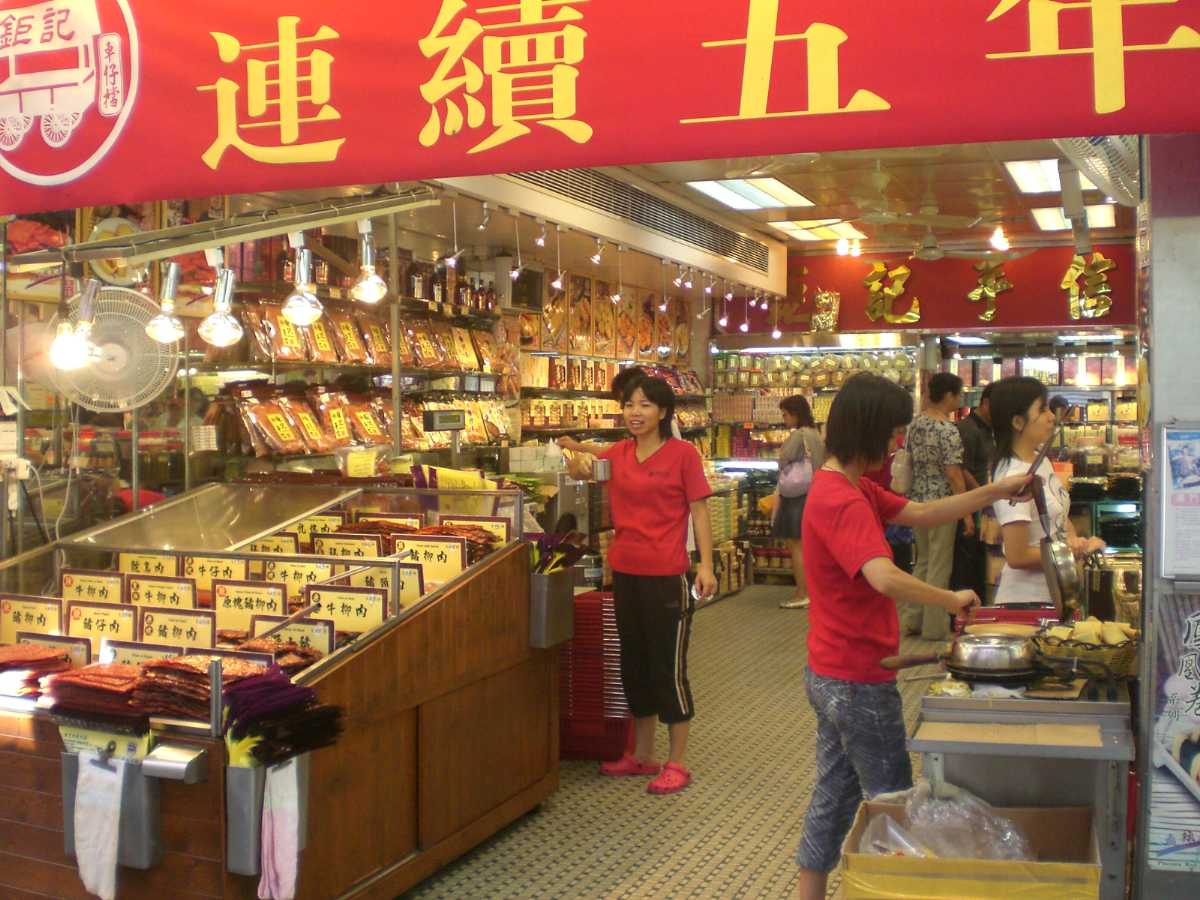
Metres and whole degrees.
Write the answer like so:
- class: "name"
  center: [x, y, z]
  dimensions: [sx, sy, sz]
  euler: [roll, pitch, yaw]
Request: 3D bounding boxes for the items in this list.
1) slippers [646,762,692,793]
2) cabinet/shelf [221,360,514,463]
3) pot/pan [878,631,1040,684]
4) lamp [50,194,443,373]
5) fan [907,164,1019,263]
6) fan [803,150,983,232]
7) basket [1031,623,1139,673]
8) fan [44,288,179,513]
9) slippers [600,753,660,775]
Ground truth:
- class: "slippers"
  center: [0.330, 1.567, 4.875]
  dimensions: [0.104, 0.081, 0.208]
  euler: [-5, -12, 31]
- class: "cabinet/shelf"
  center: [-1.476, -0.240, 6.802]
  dimensions: [0.300, 0.436, 2.102]
  euler: [9, 9, 44]
- class: "pot/pan"
  center: [1.092, 0.604, 3.033]
  dimensions: [0.344, 0.073, 0.201]
  euler: [-3, -2, 6]
- class: "lamp"
  center: [-1.546, -0.731, 4.365]
  dimensions: [1.354, 0.740, 1.360]
  euler: [-2, 4, -35]
- class: "fan"
  center: [3.422, -2.187, 9.633]
  dimensions: [1.165, 0.475, 1.215]
  euler: [0, -1, -12]
- class: "fan"
  center: [2.531, -2.241, 8.619]
  dimensions: [1.180, 0.257, 1.126]
  euler: [1, 2, -34]
- class: "basket"
  center: [1.513, 0.618, 3.215]
  dimensions: [0.212, 0.085, 0.255]
  euler: [0, 0, 17]
- class: "fan"
  center: [-2.176, -0.376, 4.512]
  dimensions: [0.552, 0.653, 0.231]
  euler: [1, 11, -9]
- class: "slippers"
  center: [0.137, 1.561, 5.077]
  dimensions: [0.259, 0.090, 0.105]
  euler: [3, -3, 1]
